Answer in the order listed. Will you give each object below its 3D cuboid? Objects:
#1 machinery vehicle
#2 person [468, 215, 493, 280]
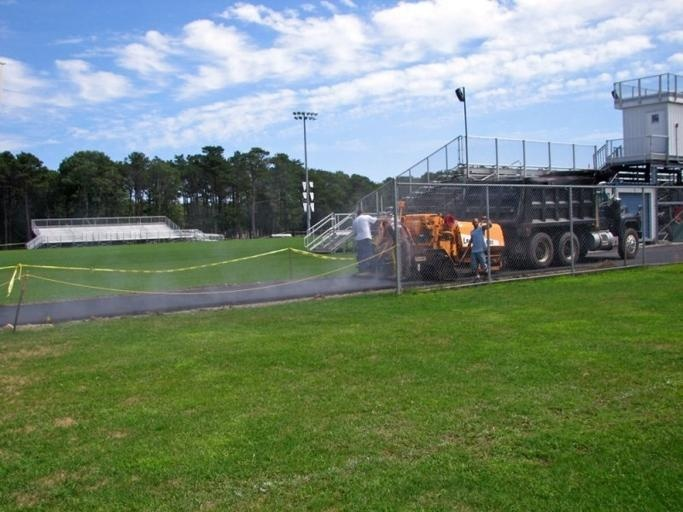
[{"bbox_3d":[3.268,-0.199,18.863,3.398,1.821,2.590,-2,-5,-34],"label":"machinery vehicle"},{"bbox_3d":[4.020,-0.175,17.184,0.471,1.747,0.932,1,12,12],"label":"person"}]
